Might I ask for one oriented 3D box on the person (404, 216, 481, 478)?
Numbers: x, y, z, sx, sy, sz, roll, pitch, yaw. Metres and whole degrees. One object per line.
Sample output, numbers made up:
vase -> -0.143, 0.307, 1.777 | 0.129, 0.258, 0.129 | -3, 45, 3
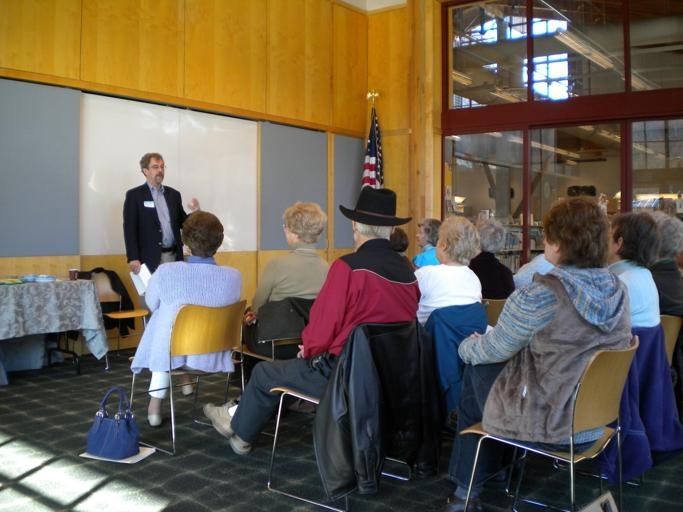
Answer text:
person -> 0.780, 0.627, 4.758 | 0.568, 1.925, 0.576 | -8, 20, -17

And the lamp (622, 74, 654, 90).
lamp -> 3.841, -2.199, 8.077 | 0.293, 0.197, 0.049 | 5, 10, 25

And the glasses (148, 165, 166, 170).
glasses -> -2.013, -0.953, 6.867 | 0.079, 0.041, 0.099 | 3, -6, -42

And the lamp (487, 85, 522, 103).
lamp -> 2.338, -2.274, 8.961 | 0.227, 0.145, 0.360 | -7, 11, -43

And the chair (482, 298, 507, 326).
chair -> 1.222, 0.422, 5.131 | 0.195, 0.327, 0.218 | 3, 10, 16

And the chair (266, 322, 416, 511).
chair -> 0.127, 0.911, 4.243 | 0.966, 1.232, 1.200 | 2, 0, 37

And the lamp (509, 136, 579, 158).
lamp -> 2.823, -1.502, 8.758 | 0.782, 0.065, 0.086 | 22, 16, 23

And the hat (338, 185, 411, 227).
hat -> 0.202, -0.323, 4.311 | 0.299, 0.139, 0.345 | 4, 17, -14

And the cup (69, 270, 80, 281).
cup -> -2.725, 0.208, 6.493 | 0.115, 0.121, 0.112 | 1, 0, 0

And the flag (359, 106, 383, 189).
flag -> 0.467, -1.689, 9.805 | 0.337, 1.246, 0.532 | 2, 9, 13

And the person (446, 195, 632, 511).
person -> 1.136, 0.606, 3.657 | 0.982, 1.864, 0.533 | 5, 10, 27

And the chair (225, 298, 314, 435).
chair -> -0.628, 0.709, 4.834 | 0.648, 1.015, 0.757 | 9, 6, 32

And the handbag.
handbag -> -1.695, 1.258, 4.694 | 0.446, 0.653, 0.287 | -1, -7, 14
